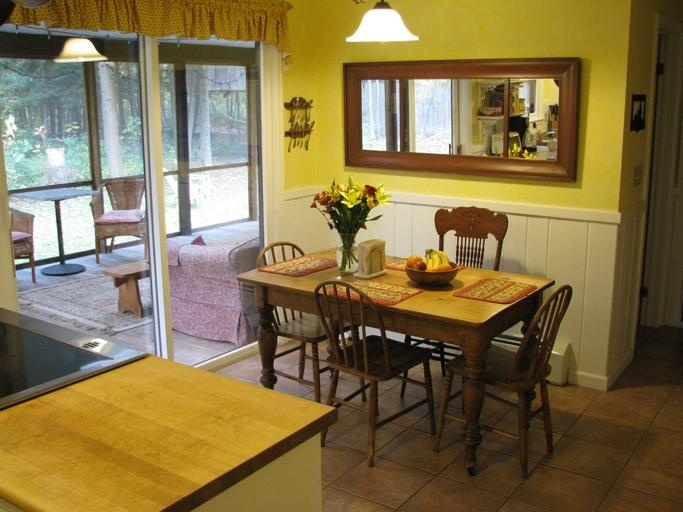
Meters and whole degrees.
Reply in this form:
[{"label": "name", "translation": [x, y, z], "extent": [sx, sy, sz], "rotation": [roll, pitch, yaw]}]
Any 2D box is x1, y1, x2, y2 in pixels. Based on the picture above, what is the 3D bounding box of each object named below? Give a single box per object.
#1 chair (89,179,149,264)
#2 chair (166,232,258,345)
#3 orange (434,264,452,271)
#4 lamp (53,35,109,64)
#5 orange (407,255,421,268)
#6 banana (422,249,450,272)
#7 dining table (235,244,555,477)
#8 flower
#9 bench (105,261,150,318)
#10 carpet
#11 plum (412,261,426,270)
[{"label": "chair", "translation": [-1.503, -0.284, 3.580], "extent": [0.493, 0.618, 0.527], "rotation": [-3, 10, -19]}, {"label": "chair", "translation": [-0.969, 0.228, 4.535], "extent": [0.780, 0.820, 0.740], "rotation": [8, 16, 29]}, {"label": "orange", "translation": [0.622, 0.065, 3.199], "extent": [0.056, 0.035, 0.068], "rotation": [-11, 7, -3]}, {"label": "lamp", "translation": [-1.617, -1.252, 3.229], "extent": [0.202, 0.078, 0.185], "rotation": [0, 11, 11]}, {"label": "orange", "translation": [0.452, 0.036, 3.257], "extent": [0.081, 0.069, 0.075], "rotation": [2, 16, 19]}, {"label": "banana", "translation": [0.590, 0.025, 3.255], "extent": [0.121, 0.086, 0.152], "rotation": [-12, 10, -7]}, {"label": "dining table", "translation": [0.369, 0.492, 3.494], "extent": [1.794, 0.676, 1.139], "rotation": [5, 16, 28]}, {"label": "flower", "translation": [0.044, -0.192, 3.403], "extent": [0.440, 0.459, 0.494], "rotation": [1, 3, 36]}, {"label": "bench", "translation": [-1.503, 0.227, 3.643], "extent": [0.213, 0.259, 0.394], "rotation": [7, 12, 27]}, {"label": "carpet", "translation": [-1.679, 0.334, 3.475], "extent": [0.073, 0.459, 0.803], "rotation": [16, 18, 42]}, {"label": "plum", "translation": [0.479, 0.061, 3.196], "extent": [0.058, 0.049, 0.059], "rotation": [7, 4, 39]}]
